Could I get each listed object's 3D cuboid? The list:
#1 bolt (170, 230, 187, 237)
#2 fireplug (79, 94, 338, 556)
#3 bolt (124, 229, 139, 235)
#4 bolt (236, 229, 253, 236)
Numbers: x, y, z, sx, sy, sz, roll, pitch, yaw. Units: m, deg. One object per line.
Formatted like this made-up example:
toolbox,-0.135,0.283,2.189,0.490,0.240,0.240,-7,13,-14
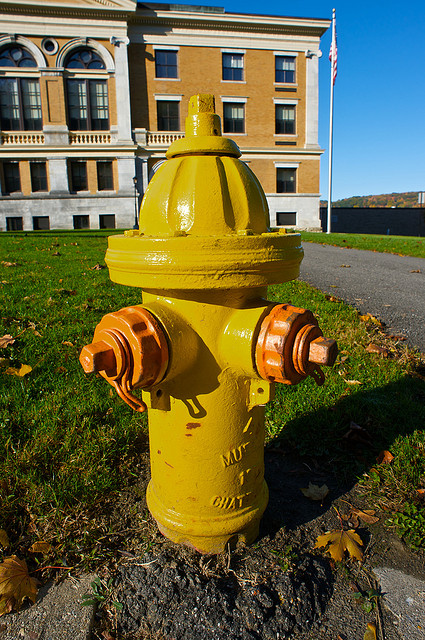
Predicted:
bolt,-0.112,-0.280,1.746,0.053,0.016,0.157,-4,13,-3
fireplug,-0.016,0.125,2.128,0.976,1.699,0.721,-2,10,-4
bolt,-0.315,-0.341,2.097,0.036,0.016,0.050,-1,4,-5
bolt,0.106,-0.289,1.773,0.054,0.013,0.173,-2,13,3
